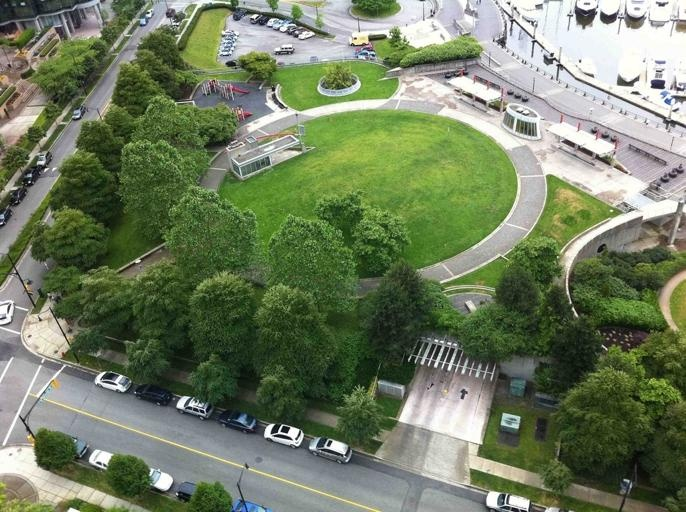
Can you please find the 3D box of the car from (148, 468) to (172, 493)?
[{"bbox_3d":[-25.447,31.678,78.202,3.314,2.894,2.881,13,14,-8],"label":"car"}]

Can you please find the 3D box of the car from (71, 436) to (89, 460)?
[{"bbox_3d":[-38.290,28.094,81.506,2.129,3.212,3.188,9,15,-23],"label":"car"}]

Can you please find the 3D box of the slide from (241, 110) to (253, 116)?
[{"bbox_3d":[-23.908,-35.965,140.334,2.586,1.250,1.854,18,14,10],"label":"slide"}]

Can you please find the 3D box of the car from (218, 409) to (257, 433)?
[{"bbox_3d":[-15.716,25.031,83.995,5.549,1.963,2.686,14,55,2],"label":"car"}]

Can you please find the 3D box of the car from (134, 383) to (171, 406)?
[{"bbox_3d":[-29.831,21.703,87.315,5.726,2.013,2.727,15,51,-6],"label":"car"}]

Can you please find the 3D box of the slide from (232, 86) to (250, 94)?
[{"bbox_3d":[-27.403,-44.650,149.222,5.049,1.445,1.618,23,1,15],"label":"slide"}]

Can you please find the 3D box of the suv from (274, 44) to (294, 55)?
[{"bbox_3d":[-17.417,-61.518,165.346,4.797,2.146,3.327,1,46,-3],"label":"suv"}]

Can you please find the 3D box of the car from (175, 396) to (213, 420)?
[{"bbox_3d":[-22.547,22.875,85.189,5.135,2.653,3.001,21,56,-8],"label":"car"}]

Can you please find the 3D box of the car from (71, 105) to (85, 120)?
[{"bbox_3d":[-66.628,-36.724,140.935,2.031,1.616,4.885,1,51,-11],"label":"car"}]
